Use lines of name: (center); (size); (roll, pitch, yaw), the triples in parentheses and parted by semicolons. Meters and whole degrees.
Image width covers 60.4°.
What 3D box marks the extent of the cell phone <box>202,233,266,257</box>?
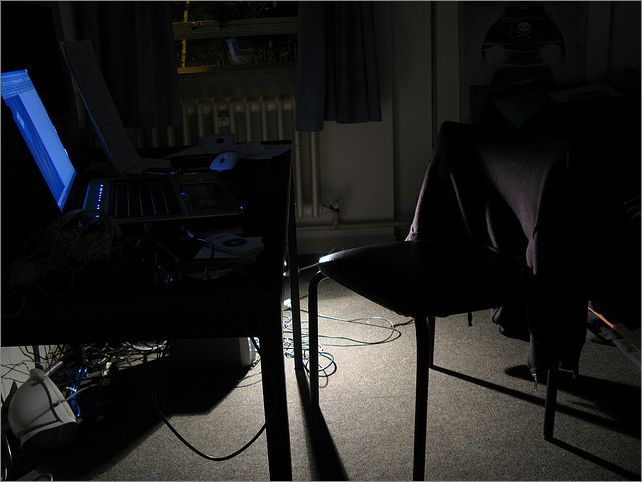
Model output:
cell phone: (-0.197, 0.009, 1.259); (0.077, 0.015, 0.143); (-10, 16, -24)

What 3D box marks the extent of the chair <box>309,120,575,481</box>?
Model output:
chair: (0.426, 0.163, 1.711); (0.694, 1.000, 0.663); (-15, 24, -31)

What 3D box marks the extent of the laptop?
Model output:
laptop: (-0.506, -0.199, 1.540); (0.530, 0.381, 0.524); (-5, 18, -13)
